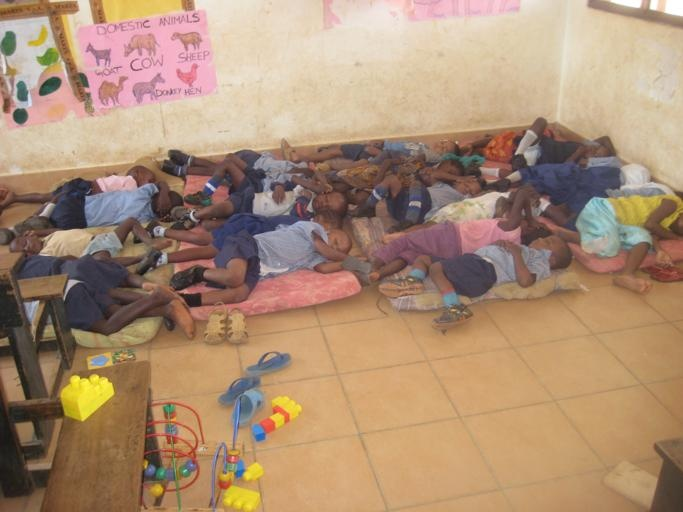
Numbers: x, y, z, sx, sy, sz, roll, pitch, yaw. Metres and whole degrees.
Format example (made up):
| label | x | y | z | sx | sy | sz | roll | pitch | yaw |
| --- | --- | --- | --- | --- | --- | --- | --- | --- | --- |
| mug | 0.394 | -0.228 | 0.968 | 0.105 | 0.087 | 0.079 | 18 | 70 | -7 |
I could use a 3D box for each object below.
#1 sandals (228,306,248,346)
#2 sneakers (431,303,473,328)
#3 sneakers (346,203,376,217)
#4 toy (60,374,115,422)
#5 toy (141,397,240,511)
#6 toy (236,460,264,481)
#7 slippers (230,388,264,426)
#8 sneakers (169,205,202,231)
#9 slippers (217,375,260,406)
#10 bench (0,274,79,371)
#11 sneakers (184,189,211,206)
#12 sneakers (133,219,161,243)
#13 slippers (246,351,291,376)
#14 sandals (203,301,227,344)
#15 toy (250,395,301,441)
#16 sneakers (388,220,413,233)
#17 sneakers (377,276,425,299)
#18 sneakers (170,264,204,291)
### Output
| label | x | y | z | sx | sy | sz | roll | pitch | yaw |
| --- | --- | --- | --- | --- | --- | --- | --- | --- | --- |
| sandals | -0.743 | 0.495 | 3.837 | 0.121 | 0.086 | 0.248 | -1 | 33 | -8 |
| sneakers | 0.819 | 0.433 | 3.940 | 0.377 | 0.130 | 0.129 | -16 | 14 | -24 |
| sneakers | 0.186 | -0.428 | 5.041 | 0.266 | 0.102 | 0.137 | -3 | 29 | -1 |
| toy | -1.162 | 0.658 | 2.467 | 0.126 | 0.155 | 0.226 | 15 | 26 | 19 |
| toy | -0.898 | 1.080 | 2.929 | 0.534 | 0.188 | 0.649 | 5 | 33 | -13 |
| toy | -0.504 | 1.179 | 2.942 | 0.121 | 0.038 | 0.121 | -16 | 40 | -37 |
| slippers | -0.549 | 0.906 | 3.294 | 0.137 | 0.096 | 0.263 | 29 | 49 | 22 |
| sneakers | -1.386 | -0.310 | 4.745 | 0.243 | 0.167 | 0.351 | -11 | 29 | -14 |
| slippers | -0.651 | 0.838 | 3.397 | 0.122 | 0.054 | 0.247 | 24 | 41 | 34 |
| bench | -1.780 | 0.421 | 3.381 | 0.274 | 0.716 | 0.387 | -17 | 34 | -19 |
| sneakers | -1.358 | -0.545 | 5.019 | 0.245 | 0.084 | 0.124 | 1 | 43 | -5 |
| sneakers | -1.661 | -0.199 | 4.627 | 0.241 | 0.133 | 0.270 | 2 | 29 | 9 |
| slippers | -0.484 | 0.718 | 3.578 | 0.266 | 0.067 | 0.137 | -16 | 30 | -26 |
| sandals | -0.904 | 0.498 | 3.859 | 0.128 | 0.082 | 0.274 | 0 | 37 | 1 |
| toy | -0.402 | 0.971 | 3.234 | 0.297 | 0.073 | 0.160 | -29 | 45 | -32 |
| sneakers | 0.522 | -0.264 | 4.778 | 0.191 | 0.038 | 0.100 | -8 | -3 | -8 |
| sneakers | 0.454 | 0.239 | 4.145 | 0.329 | 0.114 | 0.160 | 0 | 26 | -6 |
| sneakers | -1.156 | 0.155 | 4.142 | 0.305 | 0.131 | 0.119 | -22 | 21 | -7 |
